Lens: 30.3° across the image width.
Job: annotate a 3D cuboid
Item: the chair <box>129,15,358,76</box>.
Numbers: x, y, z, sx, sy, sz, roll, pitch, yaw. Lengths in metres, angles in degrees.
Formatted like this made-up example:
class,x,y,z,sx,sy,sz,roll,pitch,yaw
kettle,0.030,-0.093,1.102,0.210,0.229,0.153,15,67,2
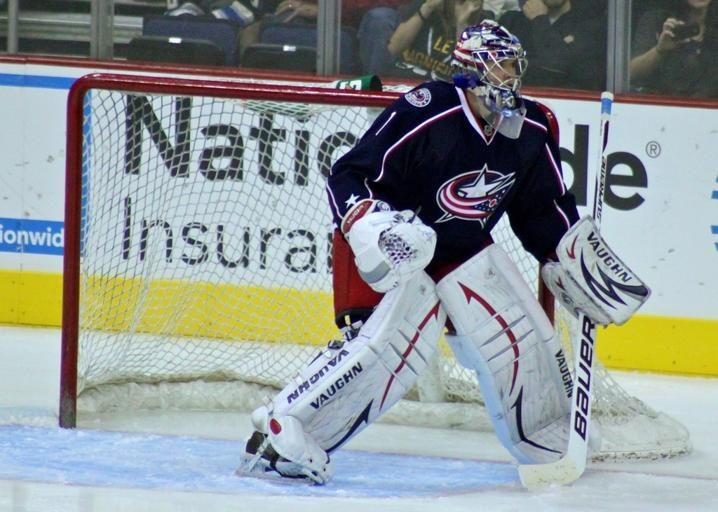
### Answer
class,x,y,z,sx,sy,sz,roll,pitch,yaw
chair,-0.772,-1.253,7.845,1.150,0.362,0.479,2,6,-1

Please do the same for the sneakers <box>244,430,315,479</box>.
class,x,y,z,sx,sy,sz,roll,pitch,yaw
sneakers,-0.352,0.918,5.945,0.277,0.132,0.177,31,-15,10

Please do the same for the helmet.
class,x,y,z,sx,sy,sz,roll,pitch,yaw
helmet,0.597,-0.939,6.058,0.389,0.314,0.300,14,18,39
